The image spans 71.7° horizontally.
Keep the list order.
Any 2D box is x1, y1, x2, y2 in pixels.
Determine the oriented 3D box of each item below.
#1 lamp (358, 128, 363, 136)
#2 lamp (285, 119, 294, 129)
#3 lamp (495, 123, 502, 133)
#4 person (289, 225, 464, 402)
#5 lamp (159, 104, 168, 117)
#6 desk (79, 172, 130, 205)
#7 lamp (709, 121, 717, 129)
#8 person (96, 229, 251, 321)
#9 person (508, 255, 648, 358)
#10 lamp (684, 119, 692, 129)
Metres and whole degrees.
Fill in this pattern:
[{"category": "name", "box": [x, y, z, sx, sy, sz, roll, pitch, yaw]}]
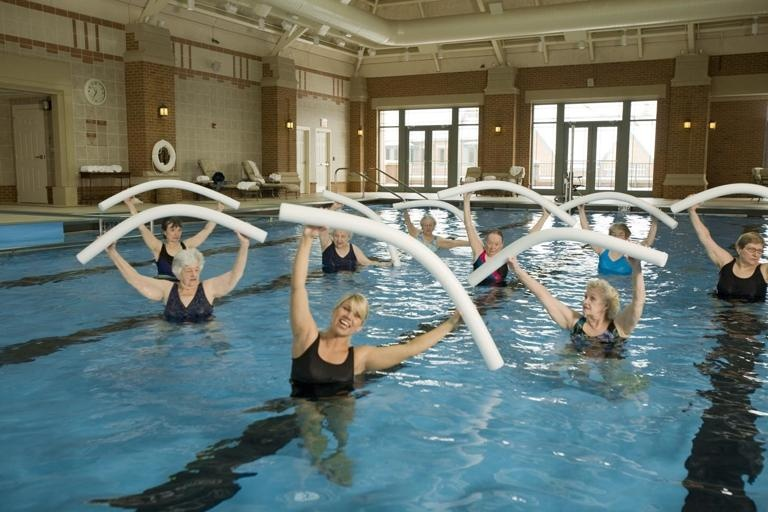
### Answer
[{"category": "lamp", "box": [-1.174, -6.092, 26.217, 0.304, 0.400, 0.134, -1, 13, -8]}, {"category": "lamp", "box": [-3.851, -5.426, 21.911, 0.163, 0.339, 0.341, 9, 13, 34]}, {"category": "lamp", "box": [5.101, -5.643, 23.704, 0.316, 0.363, 0.119, 3, 13, 10]}, {"category": "person", "box": [-0.225, 0.479, 4.196, 1.033, 1.512, 0.835, -1, 12, -9]}, {"category": "lamp", "box": [-7.202, -4.761, 17.415, 0.176, 0.386, 0.424, 3, 10, 11]}, {"category": "desk", "box": [-8.704, -2.137, 16.659, 0.688, 1.019, 1.483, 4, 10, 14]}, {"category": "lamp", "box": [13.353, -5.321, 21.581, 0.302, 0.270, 0.092, 2, 12, 5]}, {"category": "person", "box": [-2.264, 0.343, 6.096, 1.363, 0.906, 0.843, -1, 11, -7]}, {"category": "person", "box": [2.069, 0.537, 5.449, 1.030, 0.944, 1.160, 5, 11, 21]}, {"category": "lamp", "box": [12.104, -5.251, 21.170, 0.294, 0.326, 0.147, 4, 12, 17]}]
